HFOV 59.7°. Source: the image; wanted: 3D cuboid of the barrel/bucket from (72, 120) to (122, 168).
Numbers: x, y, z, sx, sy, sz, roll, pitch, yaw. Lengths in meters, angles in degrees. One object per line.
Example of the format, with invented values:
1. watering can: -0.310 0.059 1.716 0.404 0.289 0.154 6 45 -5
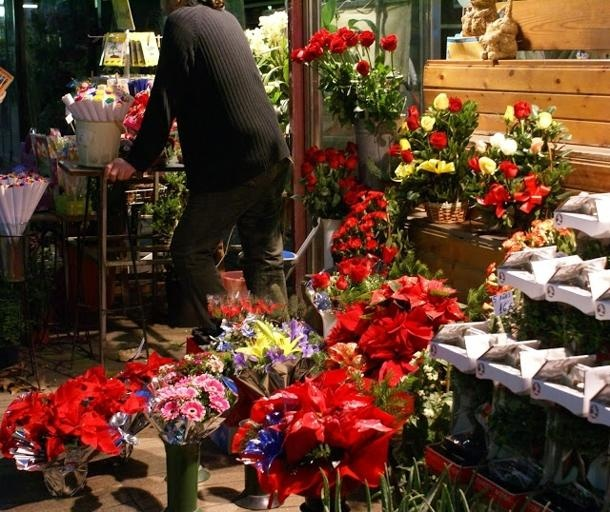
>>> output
1. barrel/bucket: -1.277 -0.679 3.319 0.273 0.225 0.284 4 10 -1
